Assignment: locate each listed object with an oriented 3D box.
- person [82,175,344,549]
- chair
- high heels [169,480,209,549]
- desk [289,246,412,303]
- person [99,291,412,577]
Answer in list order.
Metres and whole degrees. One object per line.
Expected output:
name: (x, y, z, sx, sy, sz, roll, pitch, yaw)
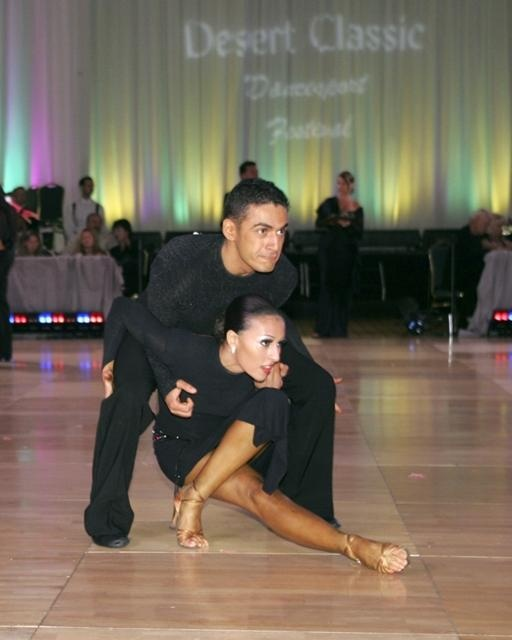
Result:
person: (-0.097, 0.061, 2.307, 0.736, 0.880, 0.629, 3, 18, -24)
chair: (1.607, -0.267, 6.877, 0.279, 0.787, 0.321, -3, 3, -36)
high heels: (-0.189, 0.507, 2.155, 0.068, 0.089, 0.210, 1, 6, -10)
desk: (0.886, -0.540, 7.990, 0.329, 0.348, 1.121, -25, -24, 36)
person: (0.003, 0.268, 2.127, 0.877, 0.662, 0.308, 4, 11, 27)
